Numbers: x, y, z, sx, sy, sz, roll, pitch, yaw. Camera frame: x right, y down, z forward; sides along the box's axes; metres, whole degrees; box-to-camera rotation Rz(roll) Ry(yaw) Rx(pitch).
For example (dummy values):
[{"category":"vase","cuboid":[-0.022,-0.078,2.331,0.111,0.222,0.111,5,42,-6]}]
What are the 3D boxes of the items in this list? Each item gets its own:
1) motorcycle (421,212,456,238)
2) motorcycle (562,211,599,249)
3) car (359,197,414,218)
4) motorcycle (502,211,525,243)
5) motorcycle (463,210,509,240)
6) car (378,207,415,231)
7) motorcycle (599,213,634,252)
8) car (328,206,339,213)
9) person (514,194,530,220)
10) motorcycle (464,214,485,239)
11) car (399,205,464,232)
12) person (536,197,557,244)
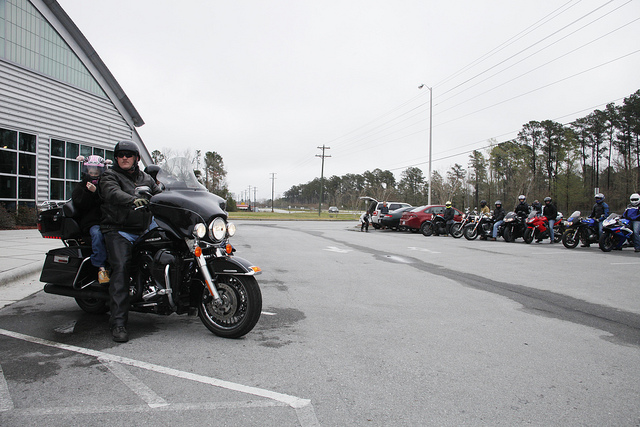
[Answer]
[{"category":"motorcycle","cuboid":[7.142,0.512,23.695,2.458,1.535,1.401,1,-2,-11]},{"category":"motorcycle","cuboid":[11.647,0.720,17.291,2.456,1.517,0.892,1,-7,-1]},{"category":"car","cuboid":[4.891,-0.399,28.798,4.515,1.902,1.606,-4,7,-17]},{"category":"motorcycle","cuboid":[9.493,0.611,19.694,0.843,1.490,0.286,0,8,-7]},{"category":"motorcycle","cuboid":[8.872,0.563,21.042,2.767,1.492,1.122,-3,3,-5]},{"category":"car","cuboid":[5.160,0.338,26.992,2.325,0.798,1.083,-2,2,-16]},{"category":"motorcycle","cuboid":[11.715,0.757,15.897,1.375,1.419,0.522,-1,8,-15]},{"category":"car","cuboid":[3.532,-1.063,111.031,1.994,1.676,3.376,0,-12,-2]},{"category":"person","cuboid":[9.876,-0.297,19.490,0.639,1.151,0.946,5,9,26]},{"category":"motorcycle","cuboid":[8.033,0.662,20.828,0.924,1.211,0.438,-2,8,-19]},{"category":"car","cuboid":[6.953,0.356,24.544,3.435,1.277,1.578,-5,5,-14]},{"category":"person","cuboid":[10.678,0.330,18.718,0.501,2.245,1.409,7,10,38]}]
